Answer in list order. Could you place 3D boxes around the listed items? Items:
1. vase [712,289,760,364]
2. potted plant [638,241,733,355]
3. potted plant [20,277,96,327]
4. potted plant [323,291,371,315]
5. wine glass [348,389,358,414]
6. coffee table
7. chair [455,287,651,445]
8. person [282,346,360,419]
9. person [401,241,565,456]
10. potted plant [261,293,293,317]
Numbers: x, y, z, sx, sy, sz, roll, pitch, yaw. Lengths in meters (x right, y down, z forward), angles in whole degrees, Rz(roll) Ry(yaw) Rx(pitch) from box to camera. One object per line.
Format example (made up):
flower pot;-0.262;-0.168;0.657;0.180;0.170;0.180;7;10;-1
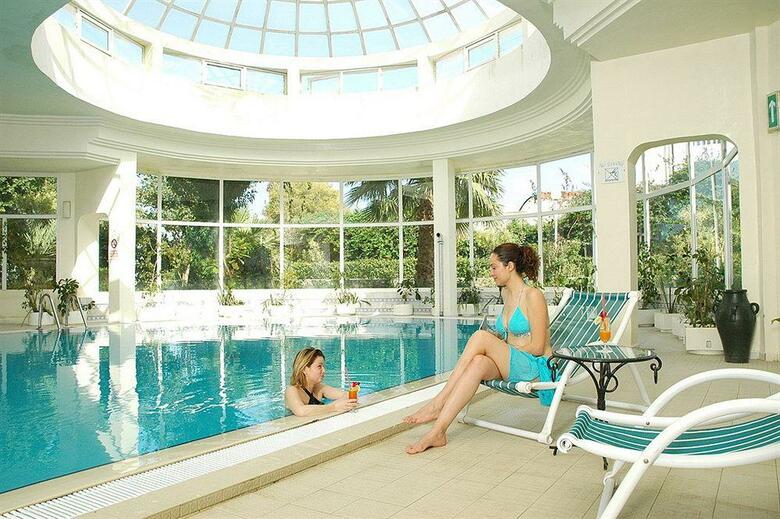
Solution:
vase;4.887;0.955;8.001;0.582;0.675;0.334;-1;-2;-17
potted plant;5.244;0.703;10.148;0.835;1.400;1.877;-2;1;4
potted plant;-8.305;1.122;14.151;1.683;1.165;1.391;1;-1;-34
potted plant;-1.409;1.394;17.558;0.902;0.570;0.964;-1;-3;28
wine glass;-0.391;1.494;6.029;0.102;0.230;0.084;-1;-2;-23
coffee table;1.936;1.453;5.318;0.972;1.039;0.952;6;-5;-5
chair;1.946;0.946;6.248;0.970;1.440;0.909;6;6;-13
person;-0.788;1.401;6.270;0.922;0.712;0.752;2;2;22
person;0.915;0.774;5.434;1.295;1.847;0.510;-1;-2;-13
potted plant;-3.393;1.418;17.311;0.751;0.689;0.698;2;-6;-23
